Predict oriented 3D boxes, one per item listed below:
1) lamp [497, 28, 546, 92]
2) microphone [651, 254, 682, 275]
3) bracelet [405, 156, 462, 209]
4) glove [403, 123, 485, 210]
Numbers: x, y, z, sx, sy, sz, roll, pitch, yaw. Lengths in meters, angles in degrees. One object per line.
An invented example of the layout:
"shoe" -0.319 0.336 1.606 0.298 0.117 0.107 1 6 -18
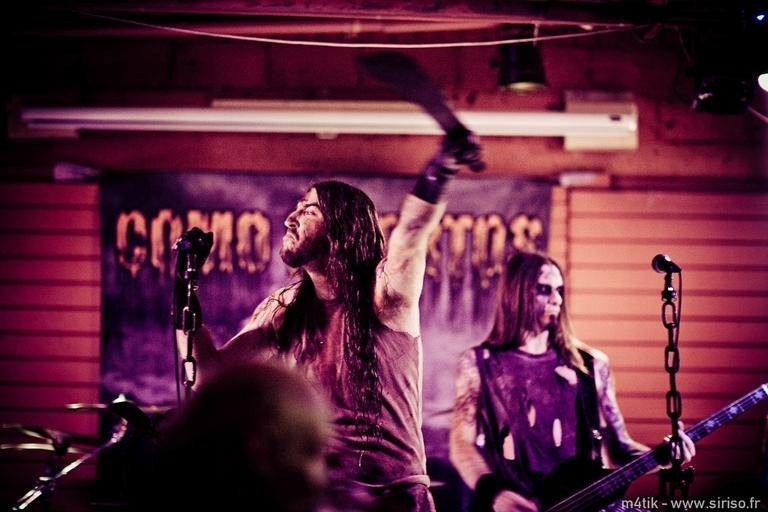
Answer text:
"lamp" 1.088 -1.585 7.517 0.407 0.494 0.260 3 -4 3
"microphone" 2.108 0.049 7.088 0.181 0.158 0.254 3 -4 12
"bracelet" 0.389 -0.554 7.262 0.284 0.376 0.238 22 18 -38
"glove" 0.467 -0.684 7.125 0.522 0.555 0.210 0 -6 44
